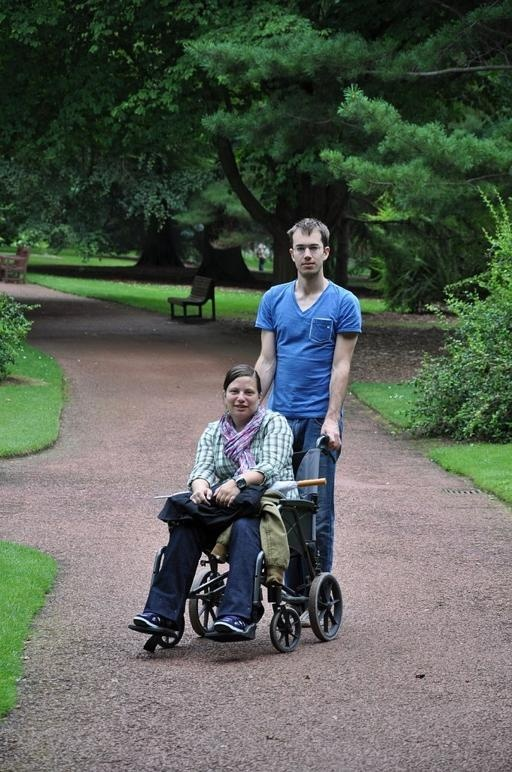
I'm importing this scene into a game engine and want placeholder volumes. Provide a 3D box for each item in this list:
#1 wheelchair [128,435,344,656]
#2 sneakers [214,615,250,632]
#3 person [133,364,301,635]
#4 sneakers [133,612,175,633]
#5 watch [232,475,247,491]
[{"bbox_3d":[-0.026,0.673,3.563,0.695,0.825,1.025,-4,-11,21],"label":"wheelchair"},{"bbox_3d":[-0.089,0.915,3.170,0.148,0.062,0.053,21,-27,-35],"label":"sneakers"},{"bbox_3d":[-0.143,0.473,3.454,0.540,1.099,0.773,1,4,14],"label":"person"},{"bbox_3d":[-0.396,0.932,3.228,0.161,0.089,0.091,0,4,-8],"label":"sneakers"},{"bbox_3d":[-0.061,0.395,3.368,0.040,0.056,0.051,-22,11,-18],"label":"watch"}]
